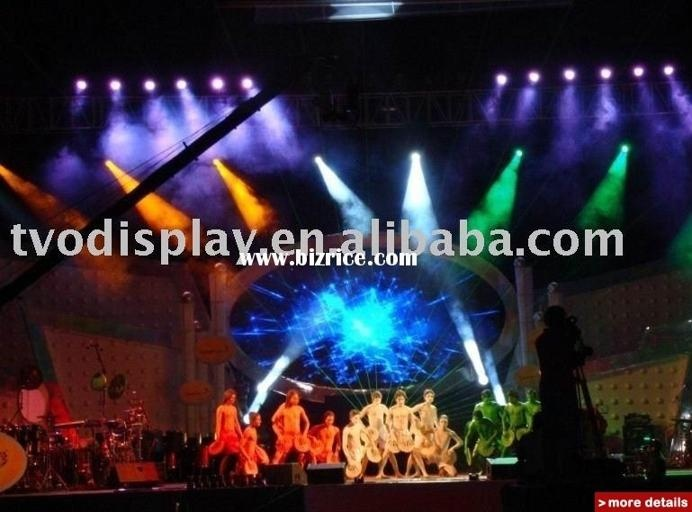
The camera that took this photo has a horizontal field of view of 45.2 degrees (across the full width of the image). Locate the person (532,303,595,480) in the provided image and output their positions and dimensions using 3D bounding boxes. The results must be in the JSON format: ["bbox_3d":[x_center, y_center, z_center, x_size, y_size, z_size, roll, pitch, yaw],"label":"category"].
[{"bbox_3d":[2.397,1.468,9.111,0.559,1.848,0.339,-2,-8,15],"label":"person"}]
